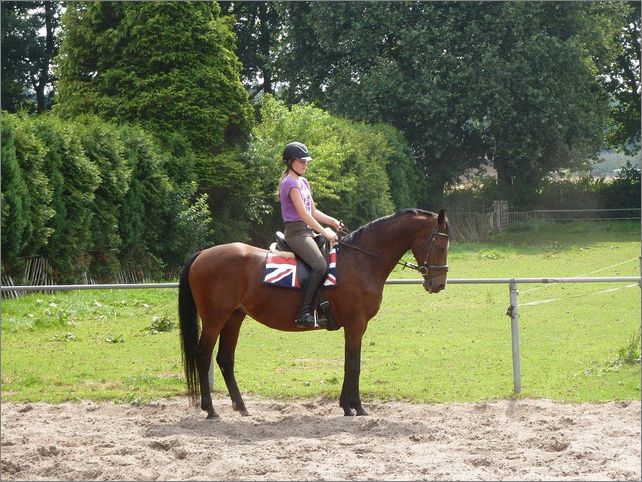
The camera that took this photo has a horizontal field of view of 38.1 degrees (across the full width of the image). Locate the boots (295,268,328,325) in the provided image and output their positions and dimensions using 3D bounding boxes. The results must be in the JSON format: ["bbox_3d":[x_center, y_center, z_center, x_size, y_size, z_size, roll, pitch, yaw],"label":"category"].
[{"bbox_3d":[-0.197,1.272,20.038,0.616,1.308,0.359,-1,12,-1],"label":"boots"}]

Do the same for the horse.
[{"bbox_3d":[0.062,1.924,21.626,4.403,3.955,1.269,0,-7,1],"label":"horse"}]

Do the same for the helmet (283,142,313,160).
[{"bbox_3d":[-0.523,-1.958,20.272,0.496,0.304,0.382,6,11,15],"label":"helmet"}]
